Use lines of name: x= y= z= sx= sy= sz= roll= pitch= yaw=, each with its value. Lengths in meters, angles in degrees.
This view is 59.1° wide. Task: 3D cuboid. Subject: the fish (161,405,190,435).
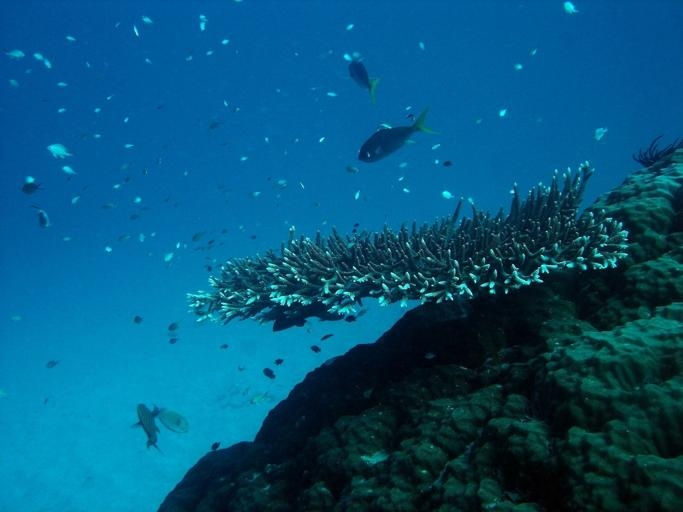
fish: x=-2.788 y=2.737 z=9.985 sx=0.421 sy=0.462 sz=0.710 roll=-10 pitch=-12 yaw=-25
